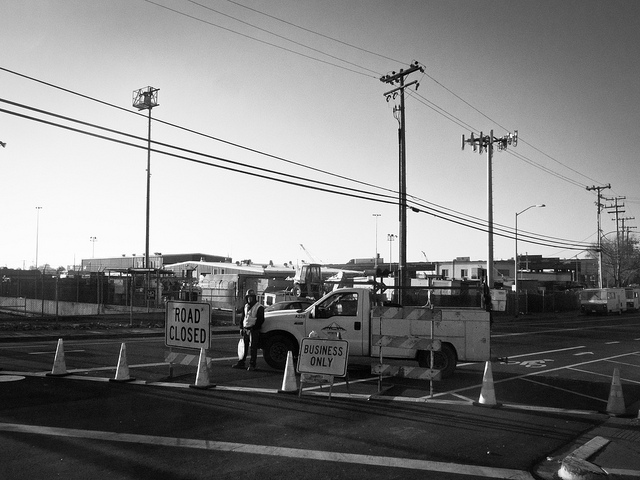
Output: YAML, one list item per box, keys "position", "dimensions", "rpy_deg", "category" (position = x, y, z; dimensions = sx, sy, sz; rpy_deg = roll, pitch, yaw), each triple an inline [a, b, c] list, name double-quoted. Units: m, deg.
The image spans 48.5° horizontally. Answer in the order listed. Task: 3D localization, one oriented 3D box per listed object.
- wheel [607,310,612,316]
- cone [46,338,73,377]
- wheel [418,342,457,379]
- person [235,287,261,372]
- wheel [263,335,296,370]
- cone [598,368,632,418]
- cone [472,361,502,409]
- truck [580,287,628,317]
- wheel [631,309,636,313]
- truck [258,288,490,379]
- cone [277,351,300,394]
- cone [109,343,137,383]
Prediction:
- position: [22.309, 5.684, 54.822]
  dimensions: [0.095, 0.429, 0.424]
  rpy_deg: [7, -3, 6]
  category: "wheel"
- position: [-6.654, 3.047, 18.314]
  dimensions: [0.918, 0.859, 0.995]
  rpy_deg: [1, -6, 5]
  category: "cone"
- position: [3.038, 3.100, 18.259]
  dimensions: [0.966, 1.119, 0.362]
  rpy_deg: [4, 7, 24]
  category: "wheel"
- position: [-1.920, 2.553, 19.953]
  dimensions: [0.546, 2.267, 0.790]
  rpy_deg: [5, -8, -31]
  category: "person"
- position: [-1.049, 3.109, 19.619]
  dimensions: [0.670, 0.755, 0.252]
  rpy_deg: [-18, -9, 6]
  category: "wheel"
- position: [6.549, 3.470, 15.849]
  dimensions: [0.518, 1.209, 0.631]
  rpy_deg: [0, -2, 3]
  category: "cone"
- position: [3.849, 3.326, 16.298]
  dimensions: [0.653, 1.034, 0.672]
  rpy_deg: [2, -7, -1]
  category: "cone"
- position: [22.384, 4.835, 56.070]
  dimensions: [3.684, 2.085, 2.187]
  rpy_deg: [-1, 0, -41]
  category: "truck"
- position: [26.909, 6.107, 61.073]
  dimensions: [0.370, 0.296, 0.230]
  rpy_deg: [6, 21, 0]
  category: "wheel"
- position: [1.409, 2.520, 19.411]
  dimensions: [6.305, 2.403, 2.565]
  rpy_deg: [-2, -8, 27]
  category: "truck"
- position: [-0.727, 3.222, 17.172]
  dimensions: [0.695, 0.971, 0.798]
  rpy_deg: [0, -6, 2]
  category: "cone"
- position: [-4.818, 3.170, 18.251]
  dimensions: [0.766, 1.315, 0.855]
  rpy_deg: [-8, -9, 35]
  category: "cone"
